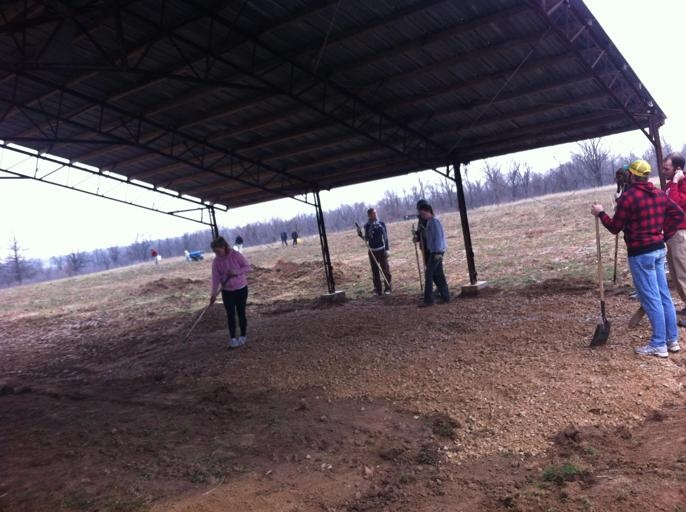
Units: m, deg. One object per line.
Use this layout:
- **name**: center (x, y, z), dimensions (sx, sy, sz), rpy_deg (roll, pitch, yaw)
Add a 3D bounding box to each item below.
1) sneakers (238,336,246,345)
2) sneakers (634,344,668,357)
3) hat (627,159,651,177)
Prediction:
- **sneakers**: center (-2.307, 1.927, 11.863), dimensions (0.139, 0.146, 0.301), rpy_deg (-1, -9, -9)
- **sneakers**: center (5.205, 1.586, 8.828), dimensions (0.503, 0.241, 0.192), rpy_deg (5, 4, 31)
- **hat**: center (5.073, -1.494, 8.926), dimensions (0.310, 0.279, 0.459), rpy_deg (-7, 1, 30)
